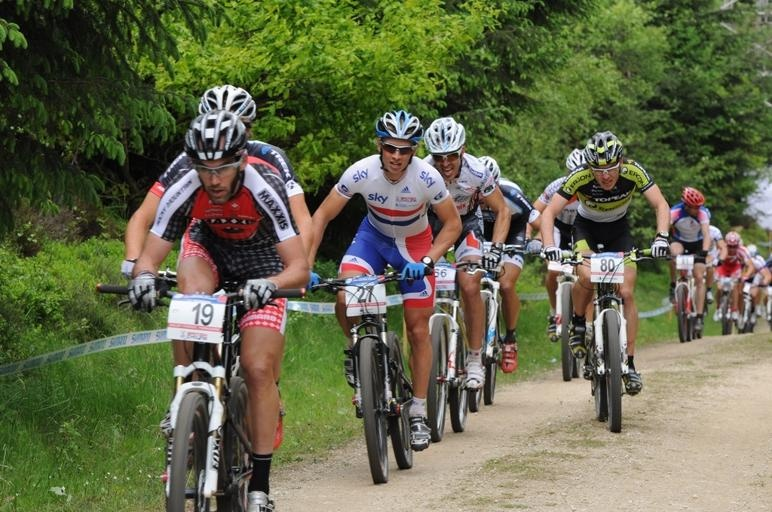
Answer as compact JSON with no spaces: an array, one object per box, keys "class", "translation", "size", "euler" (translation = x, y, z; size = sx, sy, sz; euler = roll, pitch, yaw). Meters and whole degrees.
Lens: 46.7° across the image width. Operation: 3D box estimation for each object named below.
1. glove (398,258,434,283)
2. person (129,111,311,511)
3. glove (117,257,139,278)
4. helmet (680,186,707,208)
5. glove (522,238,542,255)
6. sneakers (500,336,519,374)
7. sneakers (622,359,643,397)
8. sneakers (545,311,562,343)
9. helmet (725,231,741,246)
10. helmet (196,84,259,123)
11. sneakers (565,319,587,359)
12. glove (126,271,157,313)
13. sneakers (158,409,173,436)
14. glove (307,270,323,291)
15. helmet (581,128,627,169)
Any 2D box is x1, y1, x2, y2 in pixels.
[{"class":"glove","translation":[0.296,0.132,8.675],"size":[0.338,0.227,0.291],"euler":[-2,4,-1]},{"class":"person","translation":[-1.290,0.471,7.340],"size":[1.339,3.261,1.068],"euler":[-2,3,-6]},{"class":"glove","translation":[-2.153,0.093,7.439],"size":[0.130,0.190,0.180],"euler":[5,-6,-2]},{"class":"helmet","translation":[5.907,-1.083,17.509],"size":[0.349,0.182,0.519],"euler":[-12,38,-24]},{"class":"glove","translation":[2.057,-0.130,12.603],"size":[0.237,0.156,0.415],"euler":[0,3,-1]},{"class":"sneakers","translation":[1.694,1.395,12.461],"size":[0.171,0.550,0.213],"euler":[0,2,12]},{"class":"sneakers","translation":[2.848,1.367,10.367],"size":[0.163,0.231,0.512],"euler":[-3,43,8]},{"class":"sneakers","translation":[2.623,1.095,14.009],"size":[0.154,0.489,0.204],"euler":[4,-16,4]},{"class":"helmet","translation":[7.722,-0.377,19.932],"size":[0.267,0.330,0.374],"euler":[3,-15,7]},{"class":"helmet","translation":[-1.481,-1.483,8.568],"size":[0.379,0.227,0.566],"euler":[5,19,-1]},{"class":"sneakers","translation":[2.347,1.024,11.139],"size":[0.171,0.562,0.222],"euler":[-1,3,16]},{"class":"glove","translation":[-1.906,0.284,7.021],"size":[0.218,0.300,0.192],"euler":[-3,4,-20]},{"class":"sneakers","translation":[-1.713,1.290,6.941],"size":[0.118,0.194,0.310],"euler":[4,-7,1]},{"class":"glove","translation":[-0.675,0.228,8.319],"size":[0.123,0.187,0.066],"euler":[5,1,18]},{"class":"helmet","translation":[2.543,-1.265,10.464],"size":[0.313,0.259,0.488],"euler":[0,40,15]}]
